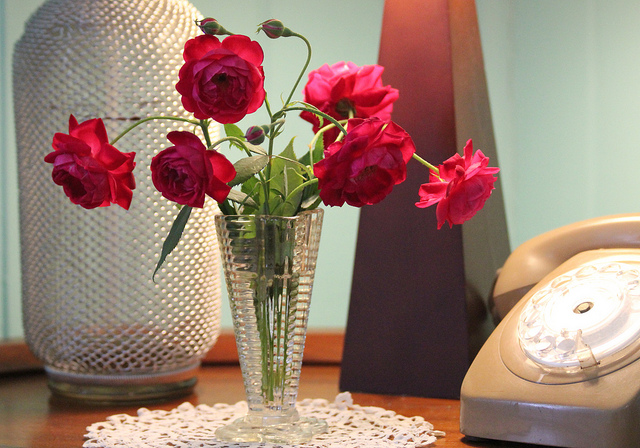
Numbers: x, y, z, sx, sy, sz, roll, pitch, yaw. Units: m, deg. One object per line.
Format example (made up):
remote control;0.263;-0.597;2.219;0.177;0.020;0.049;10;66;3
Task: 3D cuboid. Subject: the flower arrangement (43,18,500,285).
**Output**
flower arrangement;-0.080;-0.037;0.953;0.439;0.292;0.429;-11;-3;40
